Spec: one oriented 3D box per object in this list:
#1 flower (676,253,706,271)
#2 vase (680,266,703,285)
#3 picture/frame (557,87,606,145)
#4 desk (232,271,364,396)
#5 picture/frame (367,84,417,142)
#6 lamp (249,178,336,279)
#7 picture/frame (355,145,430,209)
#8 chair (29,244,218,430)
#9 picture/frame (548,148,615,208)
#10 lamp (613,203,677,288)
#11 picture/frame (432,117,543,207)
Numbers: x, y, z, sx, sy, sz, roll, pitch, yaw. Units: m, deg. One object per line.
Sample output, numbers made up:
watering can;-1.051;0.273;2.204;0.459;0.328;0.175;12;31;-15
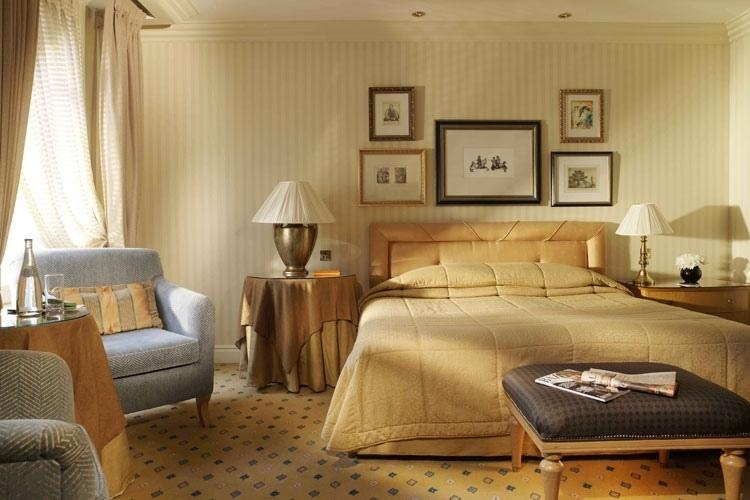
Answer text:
flower;2.924;0.103;5.169;0.226;0.105;0.208;0;-1;3
vase;2.912;0.221;5.110;0.192;0.190;0.185;1;-2;-15
picture/frame;2.033;-1.340;5.467;0.670;0.650;0.056;0;0;-3
desk;-0.543;0.715;5.204;1.363;0.889;1.214;-2;-2;15
picture/frame;0.156;-1.348;5.413;0.666;0.616;0.053;0;1;-4
lamp;-0.718;-0.189;5.098;0.856;0.759;0.769;0;0;-17
picture/frame;0.171;-0.723;5.451;0.772;0.547;0.061;6;11;35
chair;-1.837;0.571;4.114;1.120;1.016;1.140;-3;10;-27
picture/frame;2.040;-0.715;5.478;0.706;0.545;0.051;0;0;-2
lamp;2.558;-0.071;5.246;0.758;0.689;0.772;2;4;41
picture/frame;1.087;-0.880;5.451;1.055;0.729;0.067;0;0;-1
